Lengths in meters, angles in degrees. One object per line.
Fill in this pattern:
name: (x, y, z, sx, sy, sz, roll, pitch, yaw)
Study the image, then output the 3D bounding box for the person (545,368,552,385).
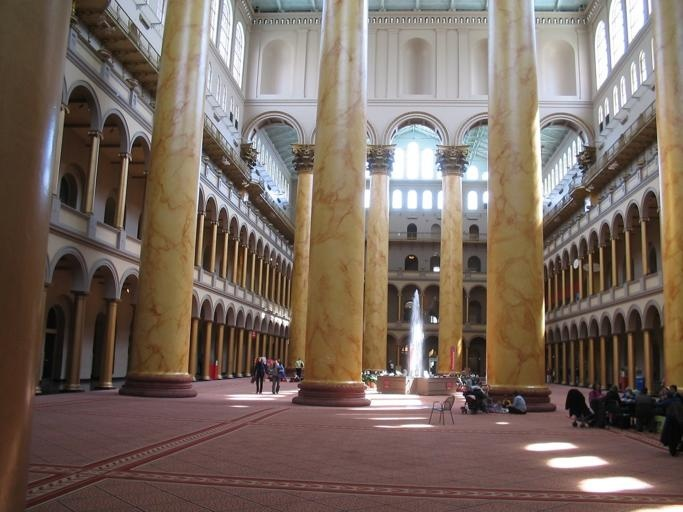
person: (16.178, 9.223, 41.199, 0.402, 0.937, 2.044, -2, -12, 21)

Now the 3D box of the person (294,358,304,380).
person: (-2.033, 5.455, 25.631, 0.357, 1.041, 1.353, 3, -11, -8)
